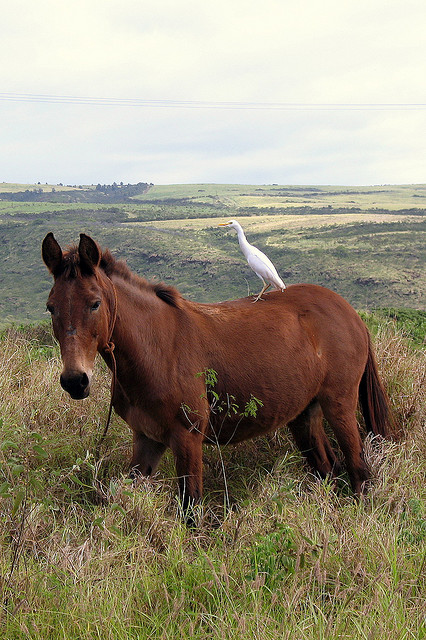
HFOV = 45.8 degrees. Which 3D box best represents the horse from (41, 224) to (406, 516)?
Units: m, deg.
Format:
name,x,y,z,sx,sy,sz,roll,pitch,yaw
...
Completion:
name,x,y,z,sx,sy,sz,roll,pitch,yaw
horse,0.156,0.522,3.558,2.928,1.887,0.820,-1,-4,-30
